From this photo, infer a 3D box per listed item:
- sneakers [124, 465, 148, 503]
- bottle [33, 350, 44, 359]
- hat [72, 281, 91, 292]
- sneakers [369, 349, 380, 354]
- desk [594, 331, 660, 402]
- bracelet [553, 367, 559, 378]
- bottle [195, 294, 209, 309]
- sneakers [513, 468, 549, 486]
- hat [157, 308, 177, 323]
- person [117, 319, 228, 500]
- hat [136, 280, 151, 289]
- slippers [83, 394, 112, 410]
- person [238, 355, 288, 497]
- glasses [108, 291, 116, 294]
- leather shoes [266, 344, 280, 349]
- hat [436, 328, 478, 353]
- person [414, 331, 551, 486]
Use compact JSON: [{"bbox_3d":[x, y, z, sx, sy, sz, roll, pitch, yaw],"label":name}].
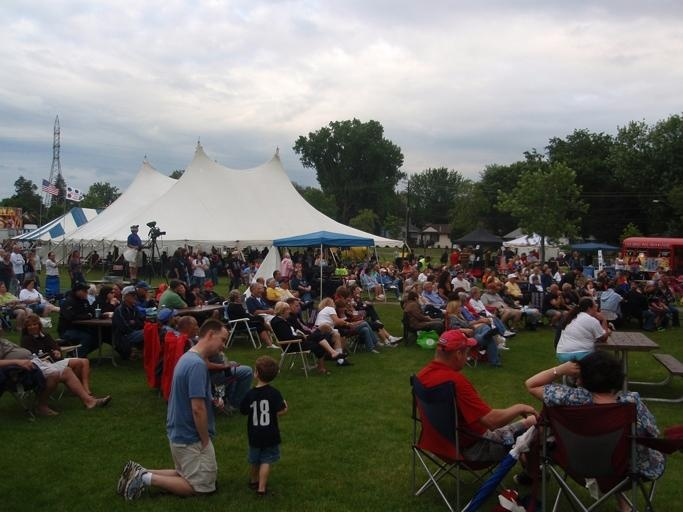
[{"bbox_3d":[-2.266,2.503,6.941,0.200,0.460,0.181,11,-12,-5],"label":"sneakers"},{"bbox_3d":[-4.487,1.447,9.199,0.118,0.060,0.120,0,-2,0],"label":"bottle"},{"bbox_3d":[-4.612,0.537,10.945,0.321,0.173,0.233,-9,4,-13],"label":"hat"},{"bbox_3d":[0.672,1.915,12.531,0.207,0.090,0.064,-6,32,40],"label":"sneakers"},{"bbox_3d":[3.894,1.499,8.466,0.594,0.599,1.188,-1,-1,9],"label":"desk"},{"bbox_3d":[2.240,1.203,6.528,0.050,0.070,0.021,16,6,10],"label":"bracelet"},{"bbox_3d":[-3.047,0.971,13.486,0.103,0.298,0.224,-16,18,-41],"label":"bottle"},{"bbox_3d":[2.066,2.491,6.948,0.456,0.202,0.157,-1,0,27],"label":"sneakers"},{"bbox_3d":[-2.822,0.926,10.028,0.258,0.132,0.184,-23,43,-29],"label":"hat"},{"bbox_3d":[-1.832,1.712,6.930,1.036,1.918,0.480,-1,8,-8],"label":"person"},{"bbox_3d":[-3.987,0.555,12.408,0.354,0.134,0.248,7,3,-17],"label":"hat"},{"bbox_3d":[-3.603,2.124,9.195,0.358,0.161,0.276,-2,8,-14],"label":"slippers"},{"bbox_3d":[-0.870,1.880,7.053,0.387,1.466,0.519,5,9,32],"label":"person"},{"bbox_3d":[-4.437,0.704,12.072,0.098,0.049,0.129,0,-2,-5],"label":"glasses"},{"bbox_3d":[-1.408,1.850,12.845,0.188,0.072,0.105,-5,-2,27],"label":"leather shoes"},{"bbox_3d":[1.295,0.910,6.818,0.463,0.188,0.293,1,1,-44],"label":"hat"},{"bbox_3d":[1.495,1.587,6.998,1.444,1.467,1.022,3,-4,-19],"label":"person"}]
